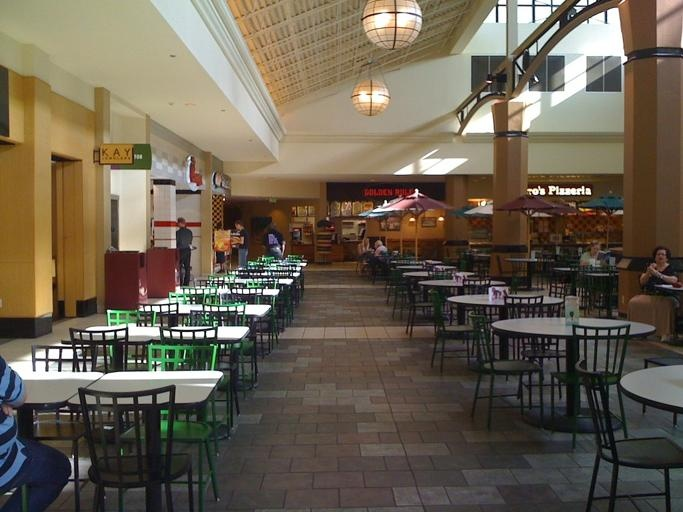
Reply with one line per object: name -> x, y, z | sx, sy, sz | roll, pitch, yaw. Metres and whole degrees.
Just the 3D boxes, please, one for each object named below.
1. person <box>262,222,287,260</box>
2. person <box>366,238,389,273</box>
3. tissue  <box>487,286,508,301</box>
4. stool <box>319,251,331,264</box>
person -> -1.858, -0.126, 16.738 | 0.515, 1.517, 0.368 | -1, 21, -4
person -> 1.161, -0.056, 18.339 | 0.526, 0.736, 1.081 | 3, 11, 8
tissue  -> 1.824, 0.436, 6.944 | 0.246, 0.188, 0.146 | -1, -2, 7
stool -> -0.669, 0.104, 24.976 | 0.457, 0.446, 0.461 | 0, 1, -12
